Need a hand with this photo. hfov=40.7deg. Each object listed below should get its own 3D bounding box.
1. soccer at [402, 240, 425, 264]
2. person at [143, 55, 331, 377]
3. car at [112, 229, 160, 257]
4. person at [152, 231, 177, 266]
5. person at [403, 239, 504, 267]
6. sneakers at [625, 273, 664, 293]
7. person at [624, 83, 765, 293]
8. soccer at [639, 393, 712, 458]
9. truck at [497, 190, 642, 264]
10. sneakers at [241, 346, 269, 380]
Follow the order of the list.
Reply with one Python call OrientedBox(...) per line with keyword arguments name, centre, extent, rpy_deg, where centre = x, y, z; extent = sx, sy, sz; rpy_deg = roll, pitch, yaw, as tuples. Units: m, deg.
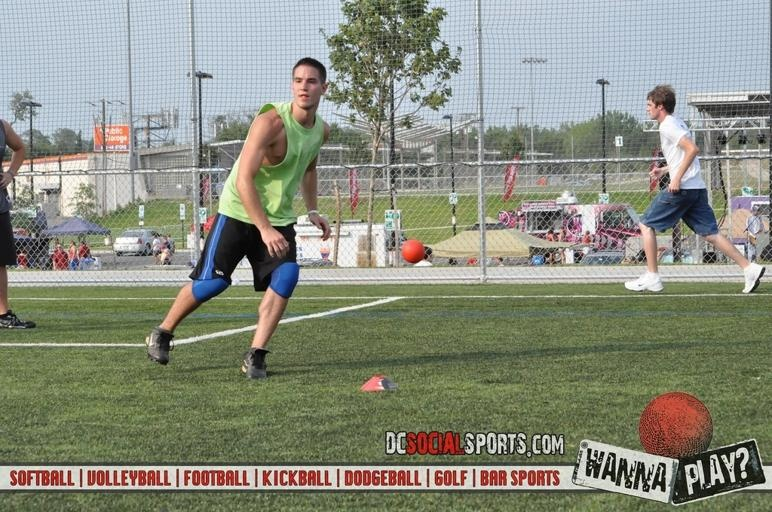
OrientedBox(name="soccer", centre=(0.342, -0.052, 13.251), extent=(0.256, 0.307, 0.572), rpy_deg=(-1, 5, 4))
OrientedBox(name="person", centre=(-1.165, -0.360, 9.030), extent=(1.475, 2.699, 0.911), rpy_deg=(-2, 3, -10))
OrientedBox(name="car", centre=(-10.001, -0.518, 41.054), extent=(1.113, 0.899, 2.694), rpy_deg=(0, 7, 5))
OrientedBox(name="person", centre=(-7.115, -0.225, 32.942), extent=(0.258, 0.653, 1.257), rpy_deg=(13, 18, -25))
OrientedBox(name="person", centre=(1.561, -0.061, 22.665), extent=(2.124, 0.842, 0.802), rpy_deg=(0, 11, -17))
OrientedBox(name="sneakers", centre=(2.901, 0.306, 11.879), extent=(0.530, 0.286, 0.213), rpy_deg=(2, 3, 12))
OrientedBox(name="person", centre=(3.342, -0.756, 11.661), extent=(1.195, 2.339, 0.739), rpy_deg=(-3, 4, -22))
OrientedBox(name="soccer", centre=(2.198, 1.224, 7.603), extent=(0.650, 0.377, 0.674), rpy_deg=(-5, 13, 23))
OrientedBox(name="truck", centre=(5.304, -0.789, 30.805), extent=(3.806, 1.848, 1.285), rpy_deg=(1, 1, 20))
OrientedBox(name="sneakers", centre=(-1.109, 0.913, 8.731), extent=(0.121, 0.239, 0.342), rpy_deg=(17, -1, -26))
